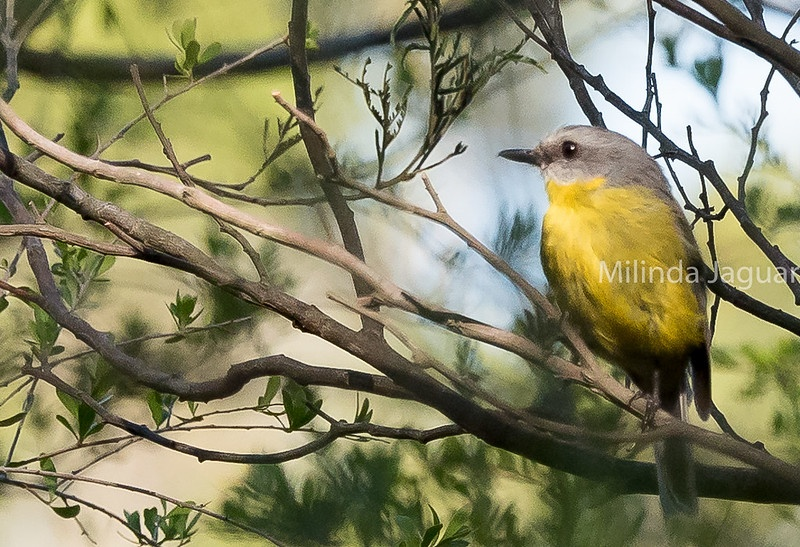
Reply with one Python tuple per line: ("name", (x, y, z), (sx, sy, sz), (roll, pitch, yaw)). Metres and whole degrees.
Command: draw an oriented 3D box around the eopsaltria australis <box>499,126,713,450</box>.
("eopsaltria australis", (0.353, 0.001, 1.956), (0.443, 0.294, 0.549), (3, -100, 3))
